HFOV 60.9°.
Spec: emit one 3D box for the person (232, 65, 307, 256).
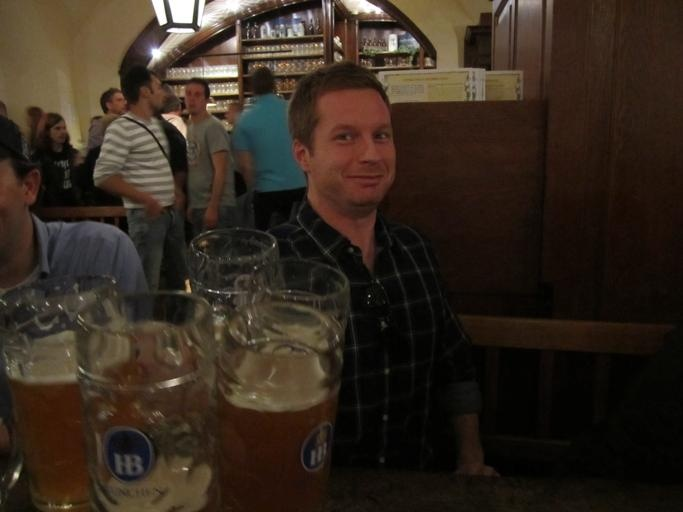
[{"bbox_3d":[-0.354,-0.483,3.440,0.463,1.210,0.353,-27,40,-30],"label":"person"}]
